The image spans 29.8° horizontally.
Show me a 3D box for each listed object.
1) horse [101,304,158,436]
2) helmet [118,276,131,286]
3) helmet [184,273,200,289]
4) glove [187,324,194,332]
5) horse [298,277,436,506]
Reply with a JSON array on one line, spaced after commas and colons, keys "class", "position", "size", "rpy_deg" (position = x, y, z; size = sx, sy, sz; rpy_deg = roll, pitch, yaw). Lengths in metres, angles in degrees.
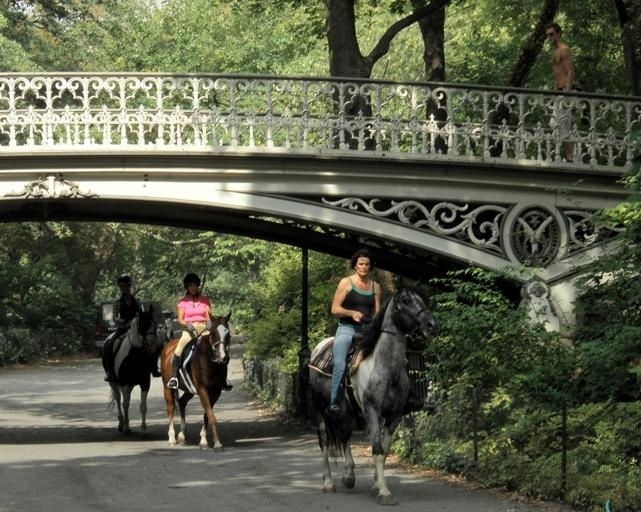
[{"class": "horse", "position": [-3.907, 2.372, 25.520], "size": [0.986, 2.672, 2.335], "rpy_deg": [0, -1, -11]}, {"class": "helmet", "position": [-4.162, 0.502, 25.872], "size": [0.217, 0.257, 0.273], "rpy_deg": [0, -19, -18]}, {"class": "helmet", "position": [-2.562, 0.509, 24.221], "size": [0.254, 0.280, 0.320], "rpy_deg": [0, -11, -10]}, {"class": "glove", "position": [-2.549, 1.435, 23.906], "size": [0.099, 0.151, 0.154], "rpy_deg": [14, 24, -18]}, {"class": "horse", "position": [0.813, 2.231, 19.861], "size": [0.787, 3.442, 2.500], "rpy_deg": [1, -2, -40]}]
